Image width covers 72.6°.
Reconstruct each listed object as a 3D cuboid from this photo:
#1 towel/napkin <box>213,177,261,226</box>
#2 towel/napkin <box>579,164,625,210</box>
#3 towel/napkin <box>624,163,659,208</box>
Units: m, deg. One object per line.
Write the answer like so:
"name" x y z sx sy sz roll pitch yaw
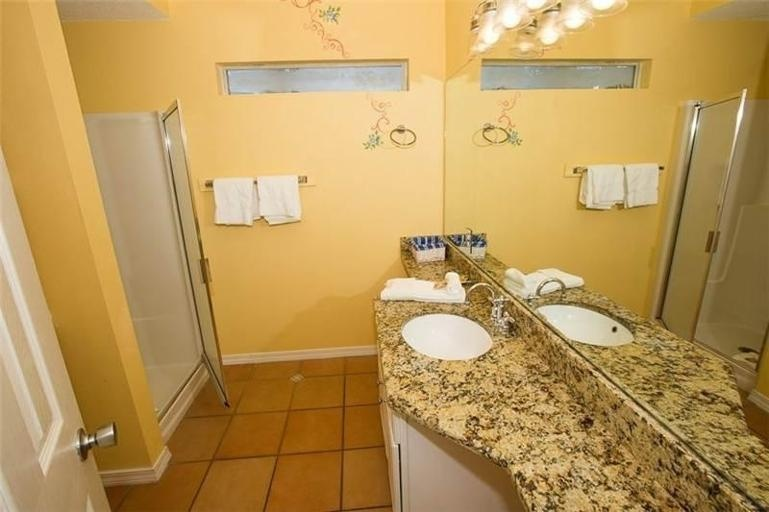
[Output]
"towel/napkin" -0.972 -0.362 3.391 0.299 0.307 0.098 1 11 5
"towel/napkin" 0.829 -0.266 1.979 0.100 0.183 0.184 0 2 -31
"towel/napkin" 0.912 -0.253 1.866 0.031 0.152 0.132 -18 22 -35
